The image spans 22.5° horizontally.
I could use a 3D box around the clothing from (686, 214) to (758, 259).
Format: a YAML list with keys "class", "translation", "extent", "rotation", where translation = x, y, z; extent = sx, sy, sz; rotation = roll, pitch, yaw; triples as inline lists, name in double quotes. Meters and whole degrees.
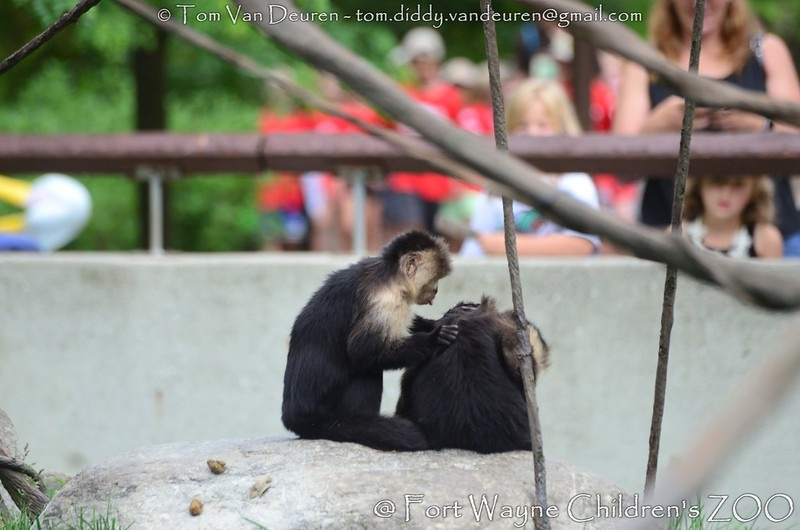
- class: "clothing"
  translation: [1.448, -0.114, 9.029]
  extent: [0.279, 0.100, 0.209]
  rotation: [14, -6, 17]

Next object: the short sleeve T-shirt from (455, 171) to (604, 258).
- class: "short sleeve T-shirt"
  translation: [0.715, -0.300, 8.995]
  extent: [0.632, 0.239, 0.721]
  rotation: [4, 7, -24]

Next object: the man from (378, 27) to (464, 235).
- class: "man"
  translation: [0.173, -0.664, 11.340]
  extent: [0.474, 1.539, 0.440]
  rotation: [-2, 37, -3]

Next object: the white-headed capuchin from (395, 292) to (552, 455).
- class: "white-headed capuchin"
  translation: [0.319, 0.595, 8.585]
  extent: [0.488, 0.500, 0.807]
  rotation: [9, 20, -3]
